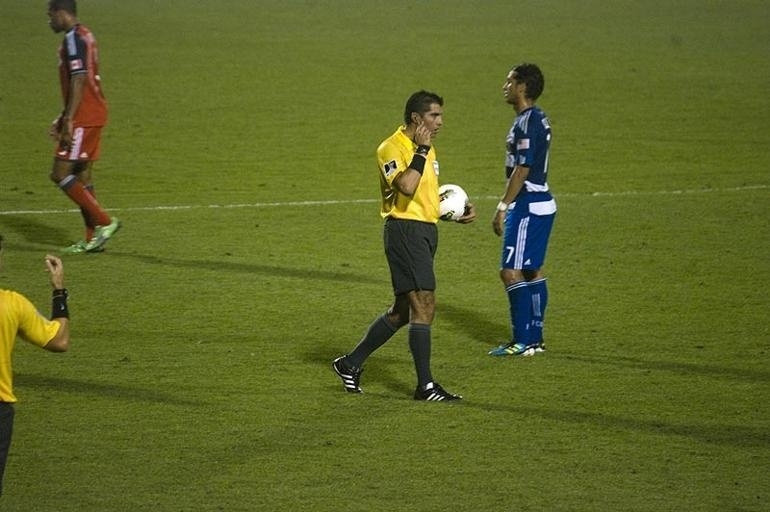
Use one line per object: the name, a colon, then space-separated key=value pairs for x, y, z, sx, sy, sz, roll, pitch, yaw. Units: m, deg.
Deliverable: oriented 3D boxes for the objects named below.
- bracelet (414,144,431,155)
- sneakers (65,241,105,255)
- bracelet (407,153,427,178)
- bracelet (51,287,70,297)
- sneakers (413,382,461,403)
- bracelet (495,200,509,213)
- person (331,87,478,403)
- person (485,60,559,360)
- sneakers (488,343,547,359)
bracelet: x=0.339 y=-1.017 z=13.161 sx=0.117 sy=0.068 sz=0.089 roll=-2 pitch=-1 yaw=-24
sneakers: x=-3.499 y=-0.100 z=16.302 sx=0.453 sy=0.143 sz=0.155 roll=2 pitch=12 yaw=-18
bracelet: x=0.328 y=-0.856 z=13.203 sx=0.217 sy=0.184 sz=0.189 roll=15 pitch=-13 yaw=16
bracelet: x=-2.819 y=0.301 z=12.042 sx=0.158 sy=0.081 sz=0.094 roll=-7 pitch=-5 yaw=38
sneakers: x=0.464 y=1.297 z=13.441 sx=0.528 sy=0.165 sz=0.165 roll=-1 pitch=-1 yaw=-2
bracelet: x=1.169 y=-0.512 z=14.241 sx=0.107 sy=0.099 sz=0.123 roll=36 pitch=-4 yaw=16
person: x=0.186 y=-0.098 z=13.304 sx=1.027 sy=2.882 sz=1.064 roll=1 pitch=19 yaw=-13
person: x=1.419 y=-0.474 z=14.260 sx=0.729 sy=2.892 sz=1.023 roll=6 pitch=19 yaw=2
sneakers: x=1.336 y=0.957 z=14.262 sx=0.580 sy=0.129 sz=0.183 roll=1 pitch=-6 yaw=-7
